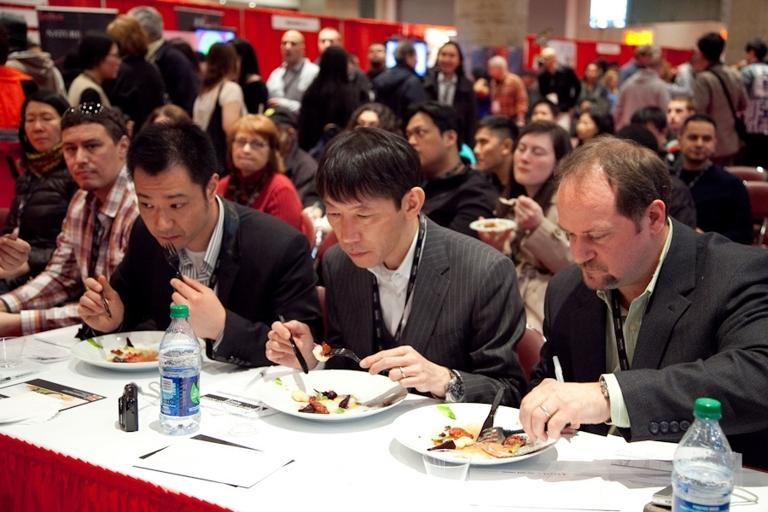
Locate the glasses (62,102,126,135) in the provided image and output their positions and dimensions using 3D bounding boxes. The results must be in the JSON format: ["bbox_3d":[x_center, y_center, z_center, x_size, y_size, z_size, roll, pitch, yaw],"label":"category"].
[{"bbox_3d":[-1.591,-0.759,3.468,0.298,0.119,0.231,12,-3,2],"label":"glasses"}]

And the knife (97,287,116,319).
[{"bbox_3d":[-1.226,0.216,2.736,0.038,0.158,0.049,-20,-6,-11],"label":"knife"}]

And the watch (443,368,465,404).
[{"bbox_3d":[0.267,0.493,2.295,0.080,0.097,0.042,-12,-26,42],"label":"watch"}]

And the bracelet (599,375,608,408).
[{"bbox_3d":[0.713,0.440,1.996,0.023,0.066,0.062,-11,4,11],"label":"bracelet"}]

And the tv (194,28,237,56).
[{"bbox_3d":[-2.005,-2.539,7.355,0.462,0.339,0.254,-2,12,-17],"label":"tv"}]

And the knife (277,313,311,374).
[{"bbox_3d":[-0.331,0.322,2.423,0.030,0.282,0.078,-23,-20,-20],"label":"knife"}]

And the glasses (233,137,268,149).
[{"bbox_3d":[-1.075,-0.918,5.052,0.141,0.055,0.161,3,3,1],"label":"glasses"}]
